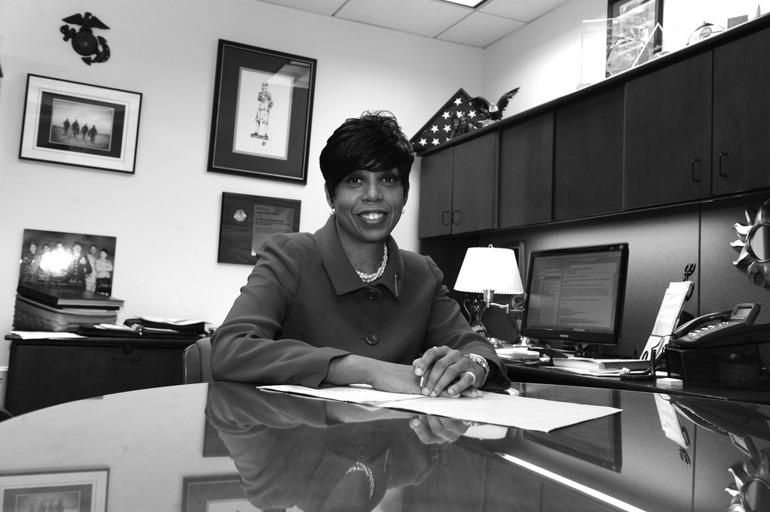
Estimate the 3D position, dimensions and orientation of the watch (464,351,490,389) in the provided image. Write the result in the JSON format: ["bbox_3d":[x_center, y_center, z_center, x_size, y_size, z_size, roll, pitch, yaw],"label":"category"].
[{"bbox_3d":[0.206,0.259,1.255,0.063,0.075,0.028,11,-12,-39],"label":"watch"}]

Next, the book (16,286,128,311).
[{"bbox_3d":[-1.828,0.234,3.233,0.490,0.110,0.516,1,2,-35],"label":"book"}]

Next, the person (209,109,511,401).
[{"bbox_3d":[-0.039,-0.055,1.340,0.704,0.688,0.614,1,1,-18],"label":"person"}]

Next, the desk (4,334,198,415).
[{"bbox_3d":[-1.160,0.451,2.189,0.483,0.463,0.195,2,-5,-20],"label":"desk"}]

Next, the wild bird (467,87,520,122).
[{"bbox_3d":[0.729,-1.013,3.781,0.312,0.194,0.147,-2,-1,11],"label":"wild bird"}]

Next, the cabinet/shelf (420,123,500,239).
[{"bbox_3d":[0.595,-0.465,3.924,0.311,0.662,0.891,4,-3,-27],"label":"cabinet/shelf"}]

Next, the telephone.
[{"bbox_3d":[1.159,0.241,1.923,0.277,0.121,0.208,-8,-7,-5],"label":"telephone"}]

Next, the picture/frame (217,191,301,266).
[{"bbox_3d":[-0.782,-0.176,3.276,0.485,0.421,0.053,3,-4,-22],"label":"picture/frame"}]

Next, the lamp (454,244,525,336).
[{"bbox_3d":[0.610,0.209,3.326,0.482,0.588,0.492,1,-7,0],"label":"lamp"}]

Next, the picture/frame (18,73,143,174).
[{"bbox_3d":[-1.916,-0.822,3.459,0.598,0.517,0.021,8,-6,-21],"label":"picture/frame"}]

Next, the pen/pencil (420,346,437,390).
[{"bbox_3d":[0.084,0.226,1.121,0.012,0.084,0.025,2,-35,31],"label":"pen/pencil"}]

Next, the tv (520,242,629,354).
[{"bbox_3d":[0.873,0.193,2.608,0.052,0.436,0.569,11,-10,-29],"label":"tv"}]

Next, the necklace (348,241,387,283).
[{"bbox_3d":[-0.025,0.020,1.537,0.077,0.108,0.028,1,-16,-8],"label":"necklace"}]
